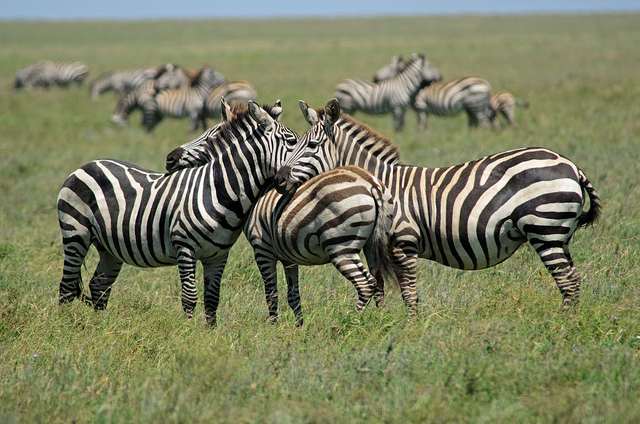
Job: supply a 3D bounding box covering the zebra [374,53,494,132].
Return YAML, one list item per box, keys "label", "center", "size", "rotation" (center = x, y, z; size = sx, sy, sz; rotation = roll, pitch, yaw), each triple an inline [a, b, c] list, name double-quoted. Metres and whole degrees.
- label: "zebra"
  center: [2.358, -2.421, 15.432]
  size: [2.344, 1.442, 0.676]
  rotation: [3, 17, 9]

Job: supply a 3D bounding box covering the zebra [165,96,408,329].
- label: "zebra"
  center: [-0.438, 0.105, 9.690]
  size: [3.268, 2.739, 1.042]
  rotation: [3, 7, 33]

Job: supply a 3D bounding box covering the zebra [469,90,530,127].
- label: "zebra"
  center: [3.274, -2.038, 14.135]
  size: [1.473, 0.860, 0.352]
  rotation: [-3, 21, -13]

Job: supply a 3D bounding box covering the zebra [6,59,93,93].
- label: "zebra"
  center: [-5.705, -2.832, 15.546]
  size: [1.422, 0.414, 0.746]
  rotation: [-9, -16, -31]

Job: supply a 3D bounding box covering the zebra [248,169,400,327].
- label: "zebra"
  center: [-0.191, 0.184, 9.758]
  size: [0.883, 2.571, 2.873]
  rotation: [8, -10, -43]

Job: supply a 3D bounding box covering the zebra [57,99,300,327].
- label: "zebra"
  center: [-1.861, 0.151, 9.687]
  size: [3.816, 2.726, 1.205]
  rotation: [-1, 3, 25]

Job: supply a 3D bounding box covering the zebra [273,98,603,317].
- label: "zebra"
  center: [1.464, 0.012, 9.516]
  size: [3.901, 2.809, 1.096]
  rotation: [0, 4, 4]
